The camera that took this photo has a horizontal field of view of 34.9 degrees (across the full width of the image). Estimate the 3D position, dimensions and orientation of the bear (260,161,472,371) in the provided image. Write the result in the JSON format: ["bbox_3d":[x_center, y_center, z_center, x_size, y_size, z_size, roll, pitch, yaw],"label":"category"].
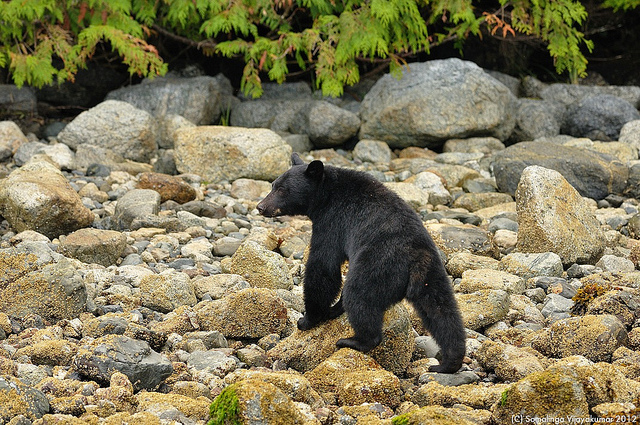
[{"bbox_3d":[0.614,0.674,13.517,2.888,2.368,1.043,15,22,33],"label":"bear"}]
